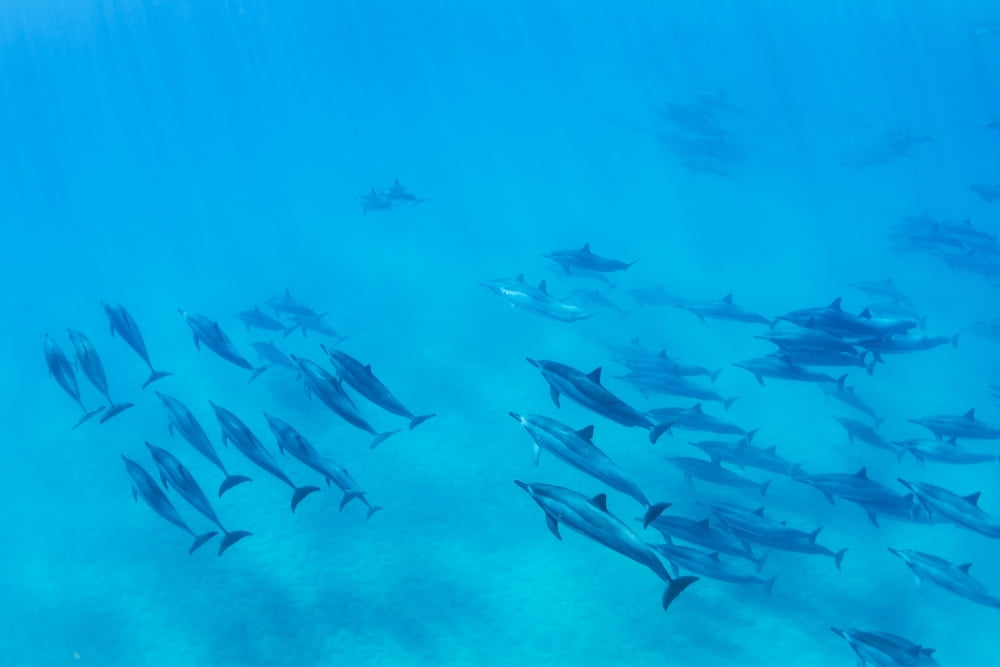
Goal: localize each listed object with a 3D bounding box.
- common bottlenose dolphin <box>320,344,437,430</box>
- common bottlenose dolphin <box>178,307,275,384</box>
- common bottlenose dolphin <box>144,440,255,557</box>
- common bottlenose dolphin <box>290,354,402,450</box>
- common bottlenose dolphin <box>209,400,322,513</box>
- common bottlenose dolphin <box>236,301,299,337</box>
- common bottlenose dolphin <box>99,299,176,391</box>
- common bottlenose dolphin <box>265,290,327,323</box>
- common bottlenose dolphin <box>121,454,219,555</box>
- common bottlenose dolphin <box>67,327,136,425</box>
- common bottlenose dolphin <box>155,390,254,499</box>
[{"bbox_3d":[-2.400,1.159,21.411,0.747,2.278,0.804,-47,-5,-48],"label":"common bottlenose dolphin"},{"bbox_3d":[-5.638,0.378,21.875,0.635,1.911,0.750,-56,6,-22],"label":"common bottlenose dolphin"},{"bbox_3d":[-5.584,3.185,19.871,0.728,2.631,0.701,-43,3,1],"label":"common bottlenose dolphin"},{"bbox_3d":[-3.035,1.438,20.701,0.747,2.162,0.807,-45,2,4],"label":"common bottlenose dolphin"},{"bbox_3d":[-4.513,2.484,20.527,0.717,2.711,0.707,-45,0,1],"label":"common bottlenose dolphin"},{"bbox_3d":[-4.680,-0.289,21.838,1.467,0.636,0.516,12,20,0],"label":"common bottlenose dolphin"},{"bbox_3d":[-6.572,-0.049,18.932,0.717,2.031,0.779,-28,-30,-26],"label":"common bottlenose dolphin"},{"bbox_3d":[-4.169,-0.469,21.626,0.388,1.276,0.490,-65,-9,-57],"label":"common bottlenose dolphin"},{"bbox_3d":[-6.134,3.277,19.787,0.704,2.268,0.587,-44,5,-16],"label":"common bottlenose dolphin"},{"bbox_3d":[-8.155,0.993,21.794,0.764,2.040,0.621,-26,-9,-16],"label":"common bottlenose dolphin"},{"bbox_3d":[-5.660,2.236,20.450,0.656,2.469,0.670,-39,2,1],"label":"common bottlenose dolphin"}]
